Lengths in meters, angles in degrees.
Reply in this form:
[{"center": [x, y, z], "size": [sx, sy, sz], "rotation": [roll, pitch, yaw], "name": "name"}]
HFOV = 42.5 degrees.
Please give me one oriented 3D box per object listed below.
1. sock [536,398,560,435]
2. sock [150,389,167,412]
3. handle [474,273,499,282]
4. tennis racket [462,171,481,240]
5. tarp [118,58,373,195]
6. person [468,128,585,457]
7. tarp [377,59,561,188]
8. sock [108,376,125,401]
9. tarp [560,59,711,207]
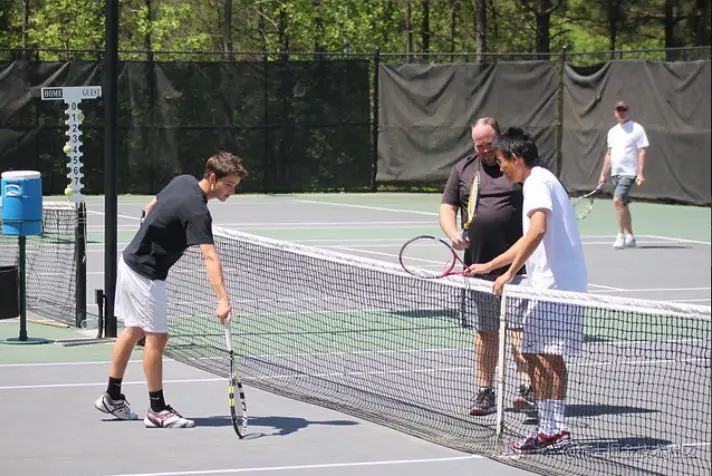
[{"center": [1.749, 1.615, 8.390], "size": [0.203, 0.331, 0.109], "rotation": [5, 11, 21], "name": "sock"}, {"center": [-1.900, 1.540, 8.802], "size": [0.148, 0.224, 0.100], "rotation": [-1, 10, -14], "name": "sock"}, {"center": [1.337, 0.392, 9.496], "size": [0.242, 0.062, 0.194], "rotation": [5, 10, 19], "name": "handle"}, {"center": [1.210, -0.355, 9.505], "size": [0.060, 0.703, 0.207], "rotation": [-3, 29, -21], "name": "tennis racket"}, {"center": [-3.769, -3.429, 28.671], "size": [8.669, 4.600, 0.281], "rotation": [-1, 27, -3], "name": "tarp"}, {"center": [1.694, 0.428, 8.700], "size": [0.909, 2.924, 1.300], "rotation": [2, 10, 8], "name": "person"}, {"center": [3.337, -3.625, 29.185], "size": [5.293, 4.059, 1.002], "rotation": [1, 10, -1], "name": "tarp"}, {"center": [-2.360, 1.451, 8.938], "size": [0.134, 0.249, 0.106], "rotation": [-2, 10, -17], "name": "sock"}, {"center": [8.318, -3.162, 27.164], "size": [0.982, 4.141, 5.050], "rotation": [-6, 12, -33], "name": "tarp"}]
